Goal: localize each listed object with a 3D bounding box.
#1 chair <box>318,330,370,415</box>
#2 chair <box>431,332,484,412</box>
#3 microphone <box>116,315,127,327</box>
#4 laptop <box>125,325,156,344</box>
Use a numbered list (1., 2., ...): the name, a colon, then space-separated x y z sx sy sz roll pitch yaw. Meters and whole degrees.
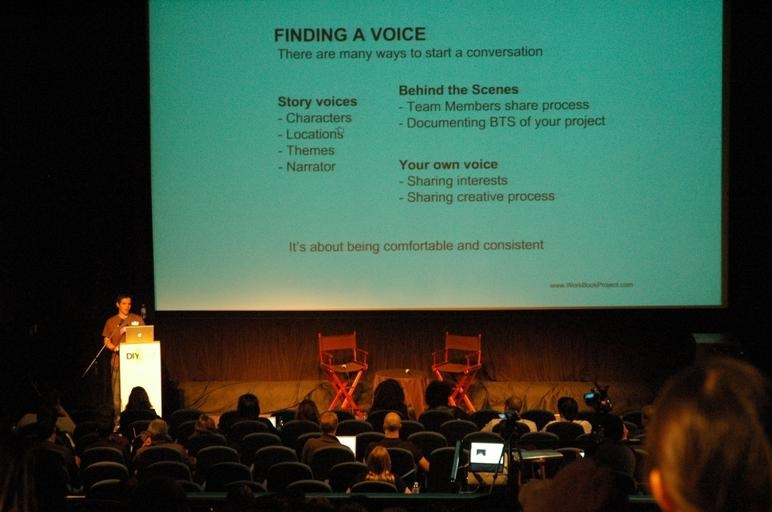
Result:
1. chair: -0.665 1.905 11.906 0.610 1.348 0.522 -4 6 -27
2. chair: 1.095 1.897 11.879 0.606 1.285 0.525 3 6 28
3. microphone: -4.005 0.996 11.551 0.134 0.152 0.042 0 -13 8
4. laptop: -3.596 1.149 11.097 0.335 0.246 0.249 1 -2 -11
